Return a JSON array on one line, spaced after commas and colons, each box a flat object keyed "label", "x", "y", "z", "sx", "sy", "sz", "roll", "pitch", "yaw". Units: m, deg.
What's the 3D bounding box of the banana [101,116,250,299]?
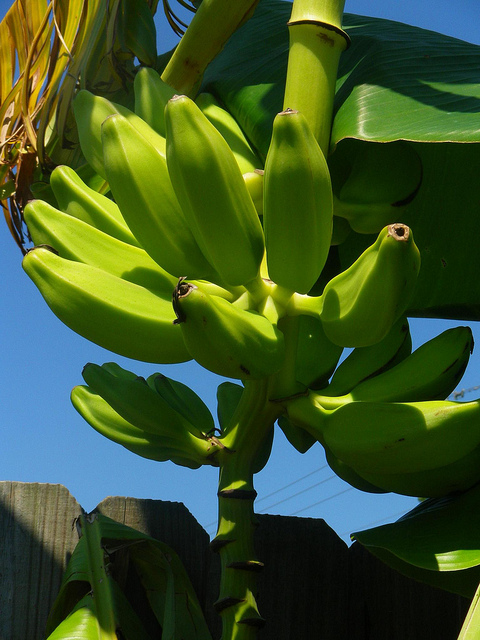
[{"label": "banana", "x": -0.041, "y": -0.167, "z": 1.155, "sx": 0.125, "sy": 0.114, "sz": 0.399, "roll": 23, "pitch": -29, "yaw": 21}]

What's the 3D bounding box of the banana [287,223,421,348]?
[{"label": "banana", "x": 0.189, "y": -0.034, "z": 1.123, "sx": 0.086, "sy": 0.135, "sz": 0.287, "roll": 5, "pitch": -20, "yaw": -23}]

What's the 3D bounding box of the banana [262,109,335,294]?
[{"label": "banana", "x": 0.090, "y": -0.172, "z": 1.114, "sx": 0.099, "sy": 0.340, "sz": 0.091, "roll": 10, "pitch": 46, "yaw": 18}]

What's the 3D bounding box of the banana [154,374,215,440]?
[{"label": "banana", "x": -0.107, "y": 0.171, "z": 1.328, "sx": 0.064, "sy": 0.063, "sz": 0.204, "roll": -26, "pitch": 5, "yaw": 9}]

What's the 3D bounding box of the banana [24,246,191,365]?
[{"label": "banana", "x": -0.191, "y": -0.030, "z": 1.158, "sx": 0.239, "sy": 0.075, "sz": 0.092, "roll": 23, "pitch": 21, "yaw": -1}]

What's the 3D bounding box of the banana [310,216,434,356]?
[{"label": "banana", "x": 0.203, "y": -0.024, "z": 1.165, "sx": 0.120, "sy": 0.169, "sz": 0.392, "roll": -13, "pitch": -8, "yaw": -8}]

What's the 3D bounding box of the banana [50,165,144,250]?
[{"label": "banana", "x": -0.254, "y": -0.194, "z": 1.304, "sx": 0.066, "sy": 0.205, "sz": 0.075, "roll": -40, "pitch": -12, "yaw": -27}]

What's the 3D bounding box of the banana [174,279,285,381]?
[{"label": "banana", "x": -0.024, "y": 0.018, "z": 1.079, "sx": 0.072, "sy": 0.123, "sz": 0.237, "roll": -9, "pitch": -29, "yaw": 32}]

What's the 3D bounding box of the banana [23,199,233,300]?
[{"label": "banana", "x": -0.278, "y": -0.163, "z": 1.428, "sx": 0.098, "sy": 0.147, "sz": 0.409, "roll": -22, "pitch": 2, "yaw": 14}]

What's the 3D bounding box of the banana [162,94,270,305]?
[{"label": "banana", "x": -0.005, "y": -0.148, "z": 1.162, "sx": 0.099, "sy": 0.387, "sz": 0.119, "roll": -28, "pitch": 27, "yaw": -22}]
